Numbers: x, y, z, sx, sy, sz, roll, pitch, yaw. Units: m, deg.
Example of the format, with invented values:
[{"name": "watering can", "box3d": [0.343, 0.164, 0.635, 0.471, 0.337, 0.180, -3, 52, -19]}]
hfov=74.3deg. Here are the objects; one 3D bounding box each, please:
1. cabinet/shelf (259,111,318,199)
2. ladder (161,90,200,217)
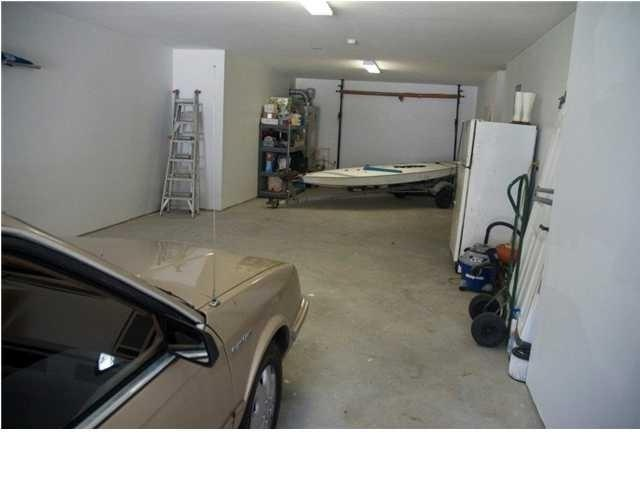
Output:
[{"name": "cabinet/shelf", "box3d": [-0.705, -1.765, 8.924, 0.553, 1.667, 1.807, 9, 24, 10]}, {"name": "ladder", "box3d": [-2.289, -1.456, 6.995, 0.740, 2.048, 0.724, -1, 10, -2]}]
